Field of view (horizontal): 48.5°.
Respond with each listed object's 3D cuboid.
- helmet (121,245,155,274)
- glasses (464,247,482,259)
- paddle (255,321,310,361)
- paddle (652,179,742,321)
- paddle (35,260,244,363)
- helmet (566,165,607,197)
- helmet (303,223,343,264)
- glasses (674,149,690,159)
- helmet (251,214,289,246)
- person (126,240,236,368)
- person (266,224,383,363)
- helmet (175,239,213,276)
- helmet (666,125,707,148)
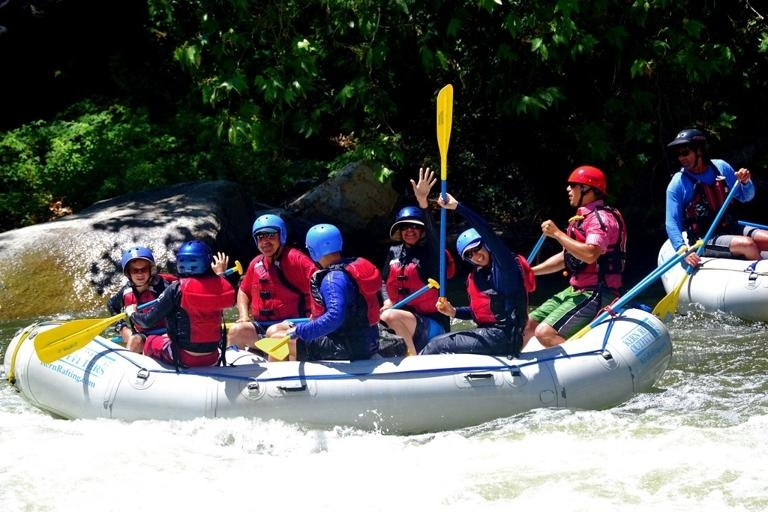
[{"bbox_3d":[-2.875,0.116,9.946,0.314,0.488,0.341,-2,24,-14],"label":"helmet"},{"bbox_3d":[0.953,-0.039,9.086,0.205,0.127,0.065,-3,7,23],"label":"glasses"},{"bbox_3d":[-1.092,0.950,9.085,0.641,0.136,0.359,-31,55,-12],"label":"paddle"},{"bbox_3d":[4.321,-0.046,11.588,0.235,2.338,0.164,30,-4,5],"label":"paddle"},{"bbox_3d":[-2.973,0.675,9.303,1.628,0.352,0.193,-25,0,1],"label":"paddle"},{"bbox_3d":[2.391,-0.826,9.829,0.414,0.235,0.322,6,16,-25],"label":"helmet"},{"bbox_3d":[-0.666,-0.148,9.186,0.355,0.404,0.445,-21,6,-41],"label":"helmet"},{"bbox_3d":[4.121,-1.406,11.753,0.109,0.156,0.248,-6,7,-8],"label":"glasses"},{"bbox_3d":[-1.313,-0.307,9.884,0.298,0.413,0.325,-4,35,6],"label":"helmet"},{"bbox_3d":[-2.147,0.522,9.310,1.087,1.414,0.978,-1,8,-33],"label":"person"},{"bbox_3d":[-0.561,0.412,9.021,1.086,1.472,0.664,-5,7,-1],"label":"person"},{"bbox_3d":[-2.017,0.020,9.139,0.331,0.403,0.439,0,4,14],"label":"helmet"},{"bbox_3d":[4.215,-1.634,11.796,0.454,0.239,0.558,-2,8,30],"label":"helmet"}]
